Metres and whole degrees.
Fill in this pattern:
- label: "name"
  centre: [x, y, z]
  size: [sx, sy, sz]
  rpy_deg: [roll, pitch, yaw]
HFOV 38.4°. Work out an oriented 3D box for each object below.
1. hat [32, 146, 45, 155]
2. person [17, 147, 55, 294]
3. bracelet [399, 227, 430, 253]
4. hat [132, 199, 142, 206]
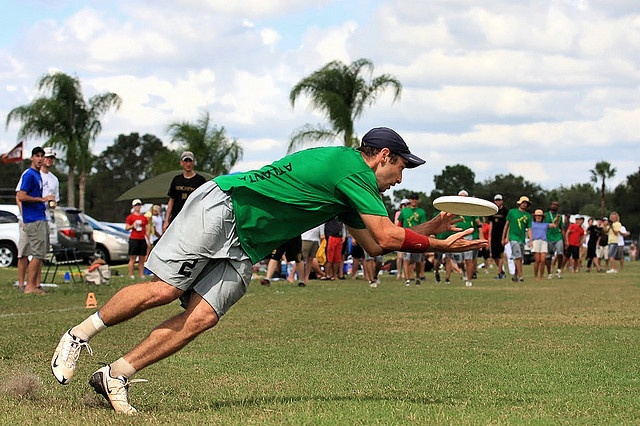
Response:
- label: "hat"
  centre: [-5.335, -1.186, 17.367]
  size: [0.191, 0.158, 0.733]
  rpy_deg: [-1, 5, -10]
- label: "person"
  centre: [-5.401, 0.142, 17.499]
  size: [0.678, 2.828, 1.415]
  rpy_deg: [-2, 6, -18]
- label: "bracelet"
  centre: [1.063, 0.309, 10.786]
  size: [0.330, 0.258, 0.252]
  rpy_deg: [16, 7, -32]
- label: "hat"
  centre: [-4.885, -0.308, 24.553]
  size: [0.203, 0.123, 0.317]
  rpy_deg: [-2, -1, -10]
